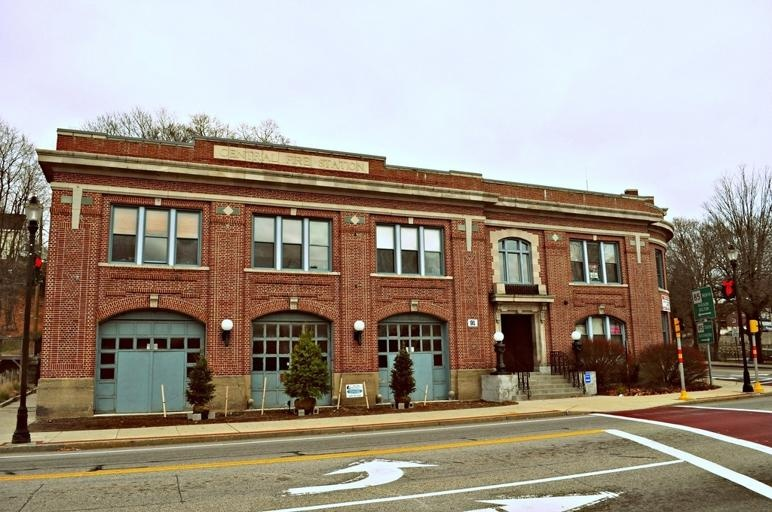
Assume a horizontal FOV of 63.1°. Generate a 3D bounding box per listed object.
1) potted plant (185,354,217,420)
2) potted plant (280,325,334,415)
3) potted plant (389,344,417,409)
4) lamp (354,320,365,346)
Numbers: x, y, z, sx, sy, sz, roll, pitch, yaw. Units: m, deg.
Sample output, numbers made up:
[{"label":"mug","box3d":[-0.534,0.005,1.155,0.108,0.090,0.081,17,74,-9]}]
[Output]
[{"label":"potted plant","box3d":[-7.143,5.112,24.335,0.902,2.353,0.779,-6,-15,15]},{"label":"potted plant","box3d":[-3.246,4.771,25.694,1.653,3.339,0.711,0,-15,-10]},{"label":"potted plant","box3d":[0.696,5.339,27.416,1.017,2.618,0.924,-3,-14,0]},{"label":"lamp","box3d":[-1.188,3.420,28.214,0.544,1.064,0.828,-3,-14,1]}]
